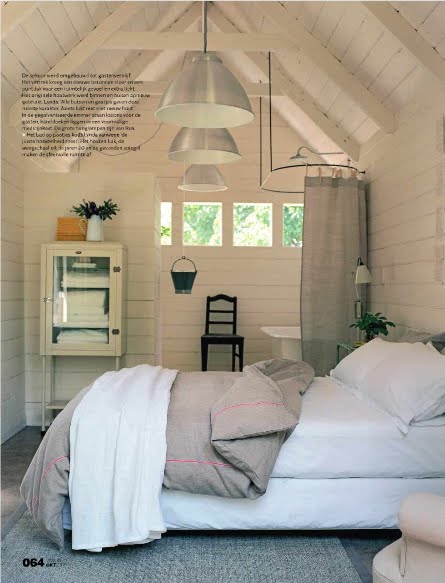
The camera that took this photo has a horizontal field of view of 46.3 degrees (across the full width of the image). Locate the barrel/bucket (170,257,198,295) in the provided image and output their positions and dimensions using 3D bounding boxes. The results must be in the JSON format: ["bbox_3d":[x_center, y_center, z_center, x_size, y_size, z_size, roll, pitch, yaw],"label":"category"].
[{"bbox_3d":[-0.304,-0.126,4.017,0.274,0.264,0.260,0,3,0],"label":"barrel/bucket"}]

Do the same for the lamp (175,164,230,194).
[{"bbox_3d":[-0.167,-0.774,3.823,0.283,0.243,0.265,-2,5,-29],"label":"lamp"}]

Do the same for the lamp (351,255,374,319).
[{"bbox_3d":[1.094,-0.025,4.071,0.129,0.484,0.319,1,5,14],"label":"lamp"}]

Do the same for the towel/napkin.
[{"bbox_3d":[-1.057,0.145,3.862,0.397,0.456,0.093,-1,5,-3],"label":"towel/napkin"}]

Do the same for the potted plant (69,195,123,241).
[{"bbox_3d":[-0.989,-0.556,4.042,0.368,0.342,0.241,-2,5,-15],"label":"potted plant"}]

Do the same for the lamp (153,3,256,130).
[{"bbox_3d":[-0.085,-0.949,2.174,0.406,0.453,0.441,-2,5,-20],"label":"lamp"}]
